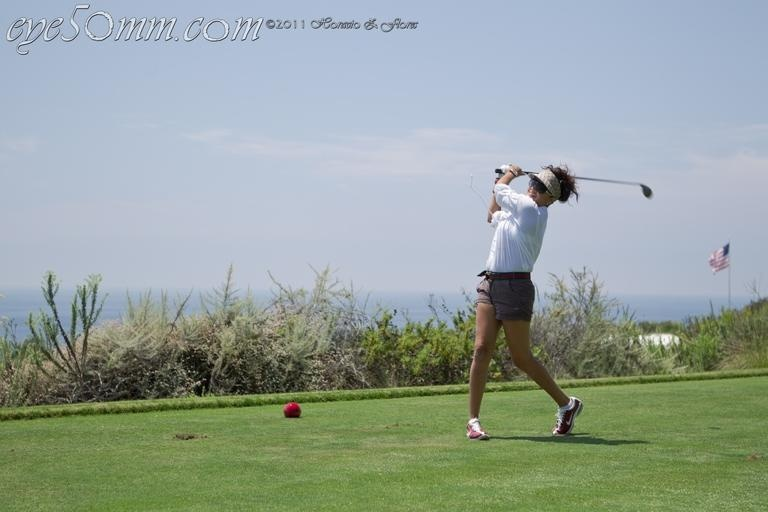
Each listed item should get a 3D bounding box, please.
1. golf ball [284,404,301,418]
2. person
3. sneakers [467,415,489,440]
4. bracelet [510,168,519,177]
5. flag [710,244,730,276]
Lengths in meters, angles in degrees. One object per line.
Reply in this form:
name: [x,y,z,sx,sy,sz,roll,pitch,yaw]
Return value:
golf ball: [-0.922,1.523,9.607,0.171,0.131,0.239,0,3,-5]
person: [1.307,0.374,8.952,1.011,2.457,0.753,0,3,5]
sneakers: [0.826,1.532,8.565,0.192,0.152,0.267,0,3,-8]
bracelet: [1.251,-0.822,9.290,0.024,0.074,0.075,-36,-46,0]
flag: [6.218,0.051,17.727,0.095,0.669,0.612,9,-9,-24]
